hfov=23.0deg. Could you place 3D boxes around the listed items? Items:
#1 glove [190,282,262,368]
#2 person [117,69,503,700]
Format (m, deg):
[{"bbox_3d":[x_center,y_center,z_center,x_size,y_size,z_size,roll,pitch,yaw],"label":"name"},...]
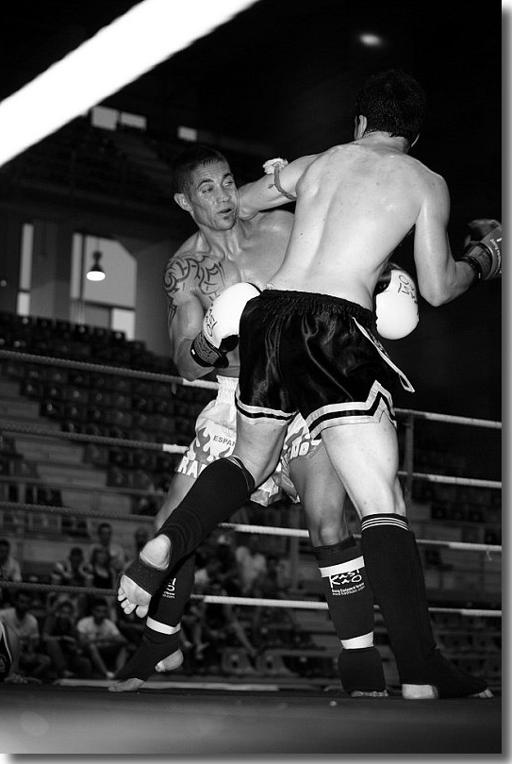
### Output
[{"bbox_3d":[-0.073,-0.123,2.985,0.085,0.194,0.155,25,5,-37],"label":"glove"},{"bbox_3d":[0.192,0.054,2.870,0.795,1.215,0.634,5,4,9],"label":"person"}]
